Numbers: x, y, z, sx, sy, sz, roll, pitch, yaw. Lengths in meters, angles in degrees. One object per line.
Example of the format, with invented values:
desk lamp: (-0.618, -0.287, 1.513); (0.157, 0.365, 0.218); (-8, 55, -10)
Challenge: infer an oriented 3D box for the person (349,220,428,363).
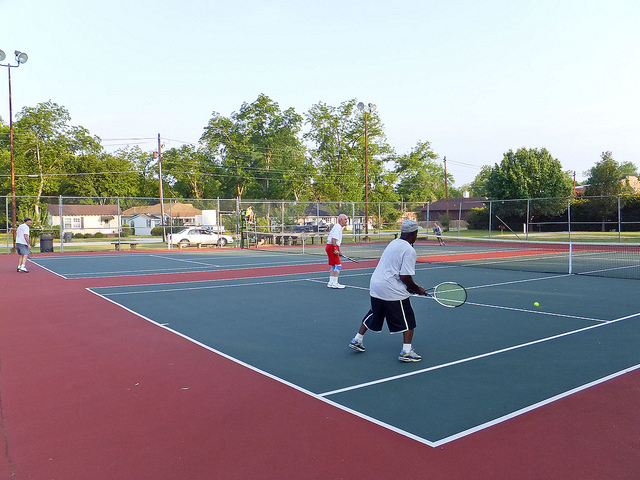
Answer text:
person: (1.047, 0.742, 8.332); (0.940, 2.087, 0.533); (3, 12, 16)

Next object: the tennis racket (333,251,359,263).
tennis racket: (0.929, 0.597, 19.962); (0.910, 0.064, 0.152); (31, 9, -40)

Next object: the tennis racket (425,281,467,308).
tennis racket: (1.998, 0.864, 8.960); (0.579, 0.448, 0.460); (4, 13, 23)

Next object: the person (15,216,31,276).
person: (-9.555, 0.178, 18.399); (0.483, 1.739, 1.098); (-7, 13, -28)
